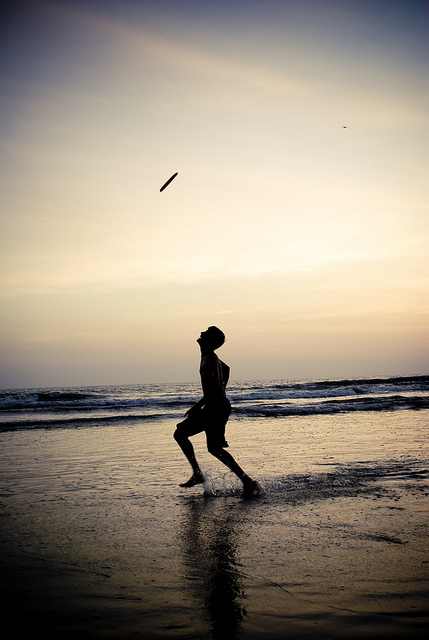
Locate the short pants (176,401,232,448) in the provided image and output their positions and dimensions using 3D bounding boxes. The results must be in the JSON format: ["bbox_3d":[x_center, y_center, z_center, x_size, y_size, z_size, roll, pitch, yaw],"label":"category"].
[{"bbox_3d":[-0.106,0.899,7.492,0.445,0.125,0.429,-20,-15,19],"label":"short pants"}]

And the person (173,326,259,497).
[{"bbox_3d":[-0.008,0.757,7.502,0.565,1.407,0.851,2,-1,-19],"label":"person"}]
